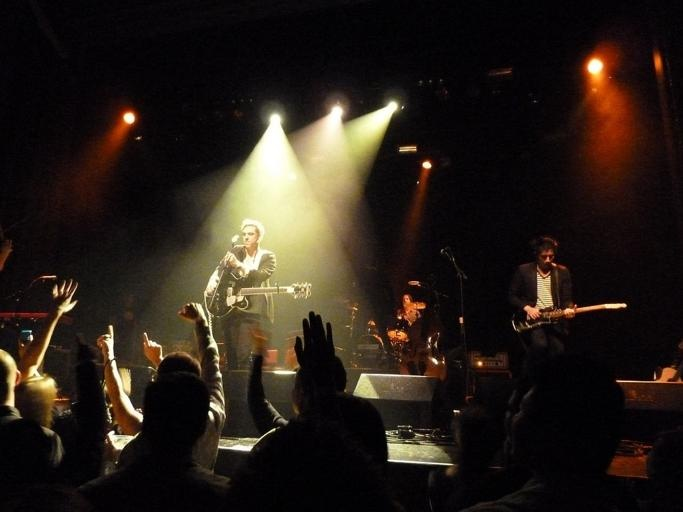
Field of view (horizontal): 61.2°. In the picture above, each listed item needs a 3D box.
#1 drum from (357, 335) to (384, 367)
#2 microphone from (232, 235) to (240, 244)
[{"bbox_3d":[0.425,1.508,9.106,0.425,0.631,0.473,-3,-13,22],"label":"drum"},{"bbox_3d":[-1.602,-0.255,8.699,0.159,0.161,0.042,5,-51,47],"label":"microphone"}]
